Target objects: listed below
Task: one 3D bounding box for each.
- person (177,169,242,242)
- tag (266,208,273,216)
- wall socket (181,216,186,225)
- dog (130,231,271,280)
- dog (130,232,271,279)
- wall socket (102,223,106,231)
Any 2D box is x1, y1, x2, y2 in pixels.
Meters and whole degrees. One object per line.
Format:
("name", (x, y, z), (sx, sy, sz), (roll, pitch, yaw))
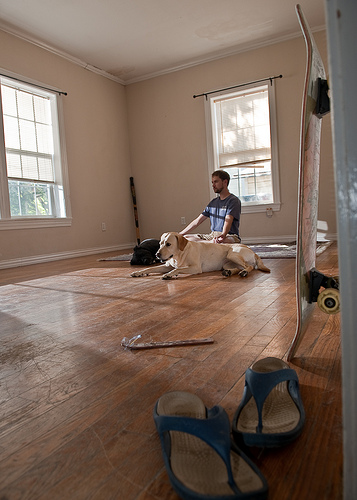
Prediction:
("person", (0.398, -0.492, 4.062), (0.833, 0.926, 0.775), (-8, 8, -30))
("tag", (1.593, -0.678, 5.993), (0.104, 0.173, 0.097), (0, 8, 13))
("wall socket", (0.097, -0.579, 6.742), (0.098, 0.154, 0.021), (-1, 9, 35))
("dog", (0.195, 0.053, 3.051), (1.112, 0.391, 0.502), (-2, -5, -20))
("dog", (0.215, 0.063, 3.048), (1.121, 0.391, 0.504), (-2, -4, -20))
("wall socket", (-1.408, -0.440, 6.475), (0.016, 0.150, 0.107), (-3, 8, 25))
